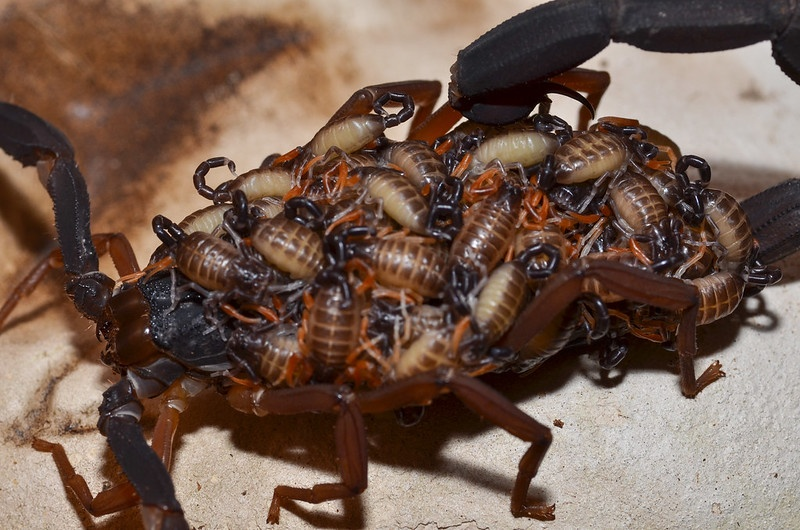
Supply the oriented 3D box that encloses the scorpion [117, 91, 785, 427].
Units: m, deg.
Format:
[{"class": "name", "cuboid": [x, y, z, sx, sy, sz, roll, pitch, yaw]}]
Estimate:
[{"class": "scorpion", "cuboid": [0.290, -0.041, 5.337, 3.364, 1.791, 0.790, -1, 3, -6]}]
